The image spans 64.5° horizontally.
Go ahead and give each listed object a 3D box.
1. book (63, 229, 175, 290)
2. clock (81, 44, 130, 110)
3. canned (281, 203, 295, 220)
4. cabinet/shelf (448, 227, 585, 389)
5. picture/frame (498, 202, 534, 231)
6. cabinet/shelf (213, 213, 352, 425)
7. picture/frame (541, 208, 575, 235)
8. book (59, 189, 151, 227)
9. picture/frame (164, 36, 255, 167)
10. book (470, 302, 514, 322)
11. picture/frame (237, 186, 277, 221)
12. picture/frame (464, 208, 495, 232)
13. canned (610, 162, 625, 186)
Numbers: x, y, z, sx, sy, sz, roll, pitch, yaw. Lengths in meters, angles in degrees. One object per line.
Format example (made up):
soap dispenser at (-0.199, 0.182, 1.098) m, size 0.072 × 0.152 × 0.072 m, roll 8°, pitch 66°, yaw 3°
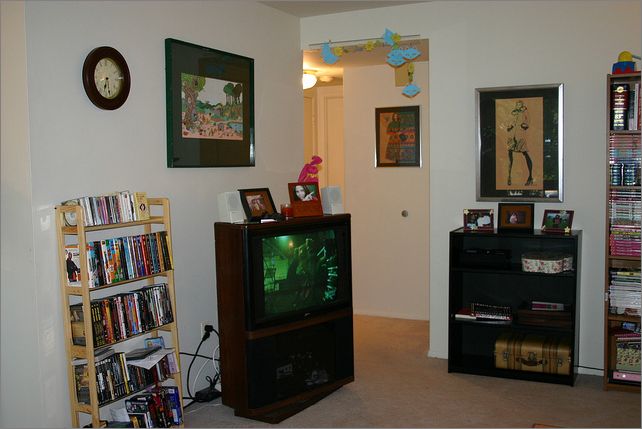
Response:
book at (-1.348, 0.298, 3.516) m, size 0.055 × 0.311 × 0.614 m, roll 7°, pitch 14°, yaw 42°
clock at (-1.570, -0.975, 3.606) m, size 0.054 × 0.547 × 0.476 m, roll 0°, pitch 5°, yaw 30°
canned at (-0.315, -0.032, 4.243) m, size 0.117 × 0.124 × 0.113 m, roll 0°, pitch 1°, yaw 40°
cabinet/shelf at (1.764, 0.817, 4.521) m, size 1.349 × 1.594 × 0.519 m, roll 0°, pitch -1°, yaw 21°
picture/frame at (1.762, 0.023, 4.588) m, size 0.254 × 0.219 × 0.027 m, roll 0°, pitch -4°, yaw 19°
cabinet/shelf at (-0.290, 0.766, 4.151) m, size 1.147 × 1.497 × 0.412 m, roll -8°, pitch 12°, yaw -29°
picture/frame at (2.097, 0.061, 4.485) m, size 0.205 × 0.206 × 0.021 m, roll 9°, pitch -19°, yaw 23°
book at (-1.489, -0.041, 3.514) m, size 0.187 × 0.211 × 0.520 m, roll 6°, pitch 13°, yaw 37°
picture/frame at (-0.953, -0.938, 4.354) m, size 0.048 × 0.968 × 0.985 m, roll 5°, pitch 8°, yaw 35°
book at (1.533, 0.871, 4.592) m, size 0.354 × 0.124 × 0.162 m, roll 1°, pitch 11°, yaw 16°
picture/frame at (-0.561, -0.089, 4.181) m, size 0.029 × 0.256 × 0.280 m, roll -21°, pitch -2°, yaw 36°
picture/frame at (1.440, 0.052, 4.657) m, size 0.202 × 0.154 × 0.023 m, roll 0°, pitch -5°, yaw 16°
canned at (2.466, -0.333, 4.235) m, size 0.108 × 0.171 × 0.037 m, roll 2°, pitch 11°, yaw 22°
